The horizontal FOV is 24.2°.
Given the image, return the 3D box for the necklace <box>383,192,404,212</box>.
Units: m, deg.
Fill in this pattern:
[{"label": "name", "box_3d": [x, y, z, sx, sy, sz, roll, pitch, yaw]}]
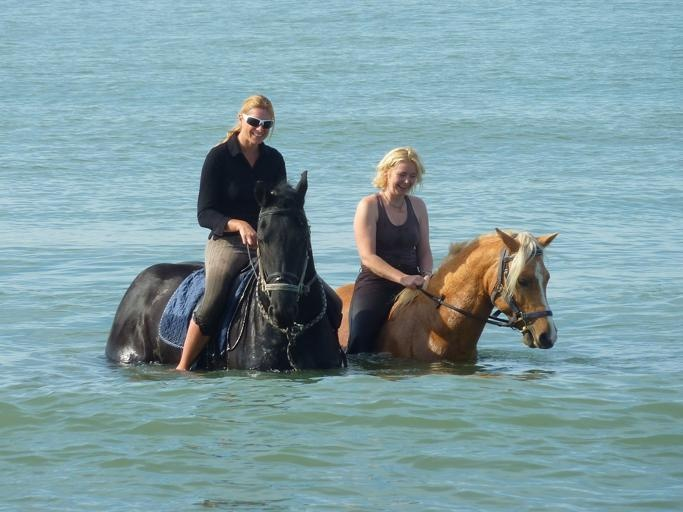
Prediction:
[{"label": "necklace", "box_3d": [1.296, -1.334, 38.728, 0.527, 0.433, 0.238, -1, 25, -2]}]
